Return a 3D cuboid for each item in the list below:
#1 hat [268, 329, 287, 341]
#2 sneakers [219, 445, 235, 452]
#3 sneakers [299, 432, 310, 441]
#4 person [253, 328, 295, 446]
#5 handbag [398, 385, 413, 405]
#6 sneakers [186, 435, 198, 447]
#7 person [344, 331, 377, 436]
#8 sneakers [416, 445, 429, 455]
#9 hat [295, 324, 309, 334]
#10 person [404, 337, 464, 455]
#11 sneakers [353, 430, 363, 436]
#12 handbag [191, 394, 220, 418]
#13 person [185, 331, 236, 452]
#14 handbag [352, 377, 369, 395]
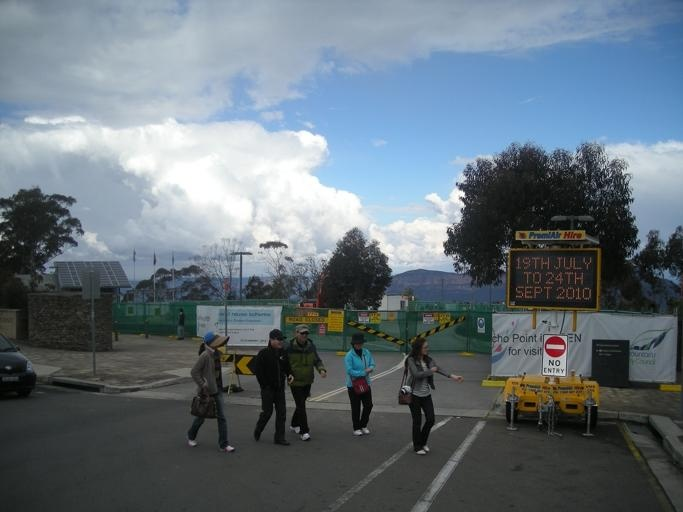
[{"bbox_3d":[-1.397,1.650,12.238,0.442,0.289,0.345,-3,-2,19],"label":"hat"},{"bbox_3d":[-2.207,3.732,11.353,0.275,0.133,0.108,-1,-9,13],"label":"sneakers"},{"bbox_3d":[-0.763,3.811,12.467,0.230,0.139,0.318,0,-4,-6],"label":"sneakers"},{"bbox_3d":[-1.443,2.698,12.215,0.780,2.316,0.786,0,-2,-6],"label":"person"},{"bbox_3d":[1.257,2.765,11.752,0.251,0.374,0.295,-1,-3,4],"label":"handbag"},{"bbox_3d":[-2.964,3.693,11.696,0.103,0.141,0.308,4,-9,-34],"label":"sneakers"},{"bbox_3d":[0.397,2.829,13.256,0.611,2.199,1.272,0,-2,2],"label":"person"},{"bbox_3d":[1.570,3.793,11.438,0.099,0.145,0.328,0,-20,-11],"label":"sneakers"},{"bbox_3d":[-0.849,1.567,12.602,0.218,0.165,0.332,2,-3,-20],"label":"hat"},{"bbox_3d":[1.628,2.770,11.816,0.748,2.198,0.897,-1,-2,18],"label":"person"},{"bbox_3d":[0.353,3.845,12.827,0.204,0.114,0.191,-1,-3,2],"label":"sneakers"},{"bbox_3d":[-2.570,2.873,11.220,0.460,0.484,0.254,6,6,6],"label":"handbag"},{"bbox_3d":[-2.617,2.659,11.745,0.835,2.268,1.328,0,-3,-15],"label":"person"},{"bbox_3d":[0.390,2.820,12.745,0.305,0.371,0.195,-7,-2,-5],"label":"handbag"}]
